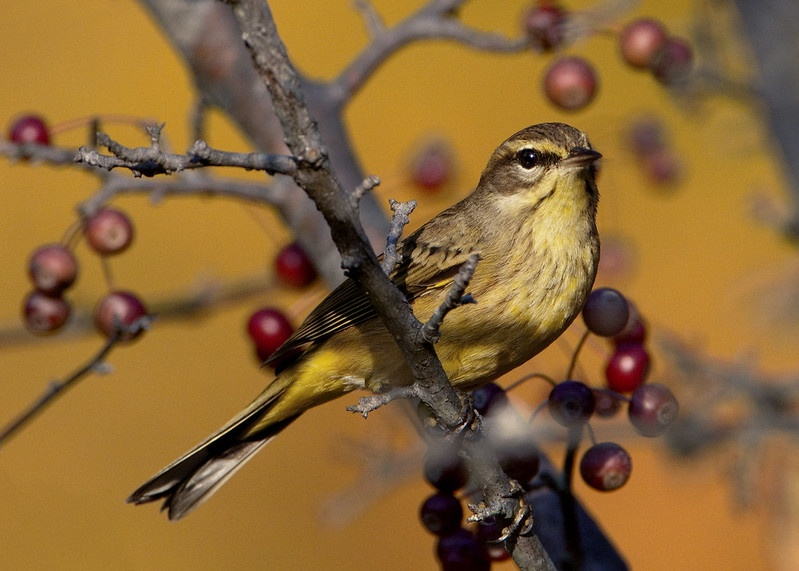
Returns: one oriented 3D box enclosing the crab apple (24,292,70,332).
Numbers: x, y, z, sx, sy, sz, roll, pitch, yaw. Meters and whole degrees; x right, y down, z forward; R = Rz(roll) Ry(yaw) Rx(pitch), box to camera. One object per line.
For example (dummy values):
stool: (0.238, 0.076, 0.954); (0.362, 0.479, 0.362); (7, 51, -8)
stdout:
crab apple: (-1.632, 0.115, 4.796); (0.231, 0.231, 0.136); (8, -53, -26)

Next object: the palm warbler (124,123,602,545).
palm warbler: (-0.271, 0.033, 5.669); (1.623, 2.380, 2.632); (0, -84, -14)

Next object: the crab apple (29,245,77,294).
crab apple: (-1.552, -0.072, 4.705); (0.180, 0.135, 0.234); (-8, -76, -23)

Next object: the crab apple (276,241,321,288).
crab apple: (-0.540, -0.098, 5.282); (0.128, 0.129, 0.162); (12, -92, -4)

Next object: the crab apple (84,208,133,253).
crab apple: (-1.322, -0.238, 4.748); (0.190, 0.108, 0.205); (-12, -97, -11)
